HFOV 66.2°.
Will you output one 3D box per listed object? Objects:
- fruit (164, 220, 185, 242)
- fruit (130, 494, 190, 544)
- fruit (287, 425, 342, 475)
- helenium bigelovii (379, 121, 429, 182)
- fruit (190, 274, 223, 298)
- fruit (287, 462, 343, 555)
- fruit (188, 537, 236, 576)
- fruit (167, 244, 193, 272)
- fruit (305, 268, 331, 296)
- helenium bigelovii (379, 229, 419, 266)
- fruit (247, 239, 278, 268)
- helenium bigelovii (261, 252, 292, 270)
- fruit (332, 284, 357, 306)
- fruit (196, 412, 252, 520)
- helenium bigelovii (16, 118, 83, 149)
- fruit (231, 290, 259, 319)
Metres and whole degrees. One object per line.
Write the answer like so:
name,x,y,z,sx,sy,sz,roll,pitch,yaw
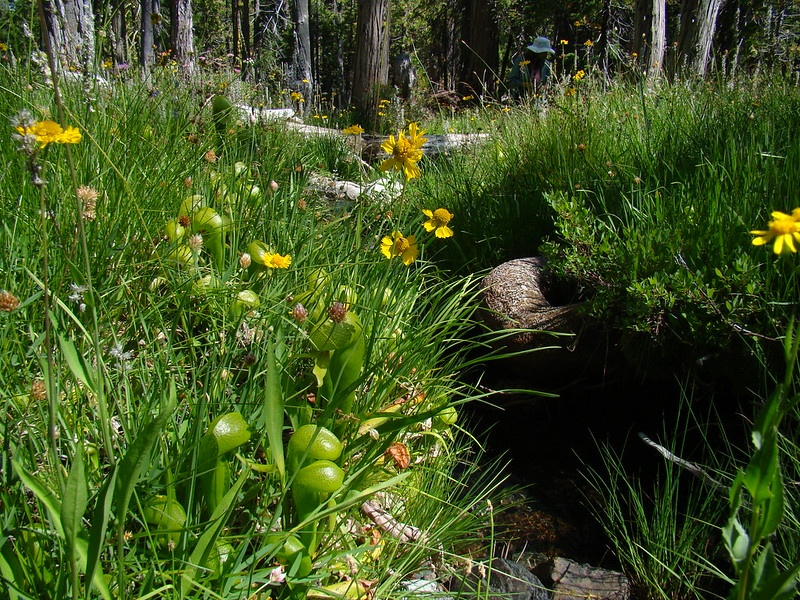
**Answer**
fruit,-0.734,-0.223,2.001,0.051,0.076,0.062,-8,13,-11
fruit,-0.551,0.507,1.408,0.121,0.102,0.156,14,-4,-26
fruit,-0.189,0.347,1.494,0.120,0.069,0.152,18,6,18
helenium bigelovii,0.004,-0.468,1.974,0.133,0.197,0.291,0,19,-2
fruit,-0.593,-0.044,1.871,0.075,0.036,0.085,-11,7,-3
fruit,-0.203,0.489,1.451,0.092,0.199,0.200,14,44,-9
fruit,-0.415,0.566,1.387,0.077,0.042,0.062,52,46,6
fruit,-0.703,-0.139,1.942,0.081,0.064,0.110,4,48,-21
fruit,-0.269,-0.063,1.996,0.052,0.055,0.097,-5,32,23
helenium bigelovii,0.002,-0.139,1.869,0.107,0.032,0.111,34,46,-26
fruit,-0.454,-0.146,2.029,0.067,0.082,0.099,14,20,0
helenium bigelovii,-0.355,-0.112,1.790,0.066,0.020,0.068,17,9,-26
fruit,-0.167,-0.016,1.911,0.051,0.050,0.065,-5,34,-30
fruit,-0.406,0.376,1.394,0.108,0.330,0.132,3,26,-17
helenium bigelovii,-0.685,-0.317,1.176,0.084,0.040,0.093,8,12,14
fruit,-0.467,-0.006,1.865,0.069,0.063,0.099,1,28,11
